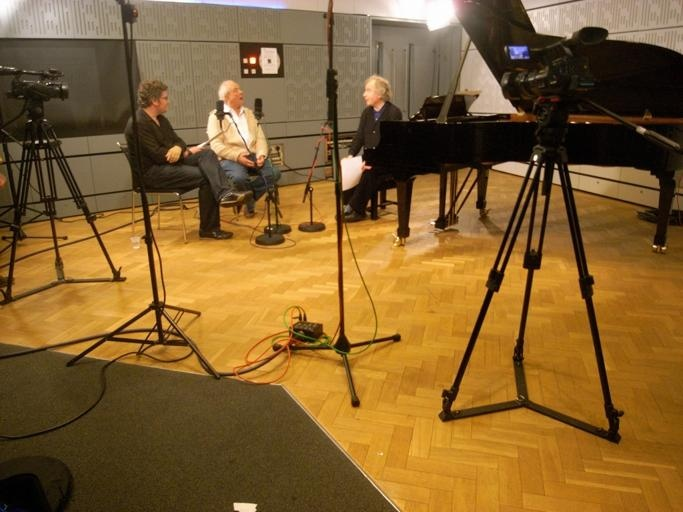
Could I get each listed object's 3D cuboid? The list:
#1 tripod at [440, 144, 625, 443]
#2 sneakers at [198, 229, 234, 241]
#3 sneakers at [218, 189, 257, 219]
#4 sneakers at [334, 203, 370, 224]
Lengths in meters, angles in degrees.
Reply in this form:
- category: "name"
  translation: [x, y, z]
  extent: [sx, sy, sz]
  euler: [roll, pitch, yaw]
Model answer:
- category: "tripod"
  translation: [1.235, -0.070, 3.422]
  extent: [0.923, 1.402, 1.917]
  euler: [6, 22, 17]
- category: "sneakers"
  translation: [-1.264, -0.216, 5.587]
  extent: [0.285, 0.120, 0.130]
  euler: [-3, 11, -14]
- category: "sneakers"
  translation: [-1.085, -0.523, 5.483]
  extent: [0.385, 0.171, 0.181]
  euler: [9, 22, 38]
- category: "sneakers"
  translation: [0.071, -0.452, 5.837]
  extent: [0.490, 0.218, 0.187]
  euler: [0, 19, -16]
